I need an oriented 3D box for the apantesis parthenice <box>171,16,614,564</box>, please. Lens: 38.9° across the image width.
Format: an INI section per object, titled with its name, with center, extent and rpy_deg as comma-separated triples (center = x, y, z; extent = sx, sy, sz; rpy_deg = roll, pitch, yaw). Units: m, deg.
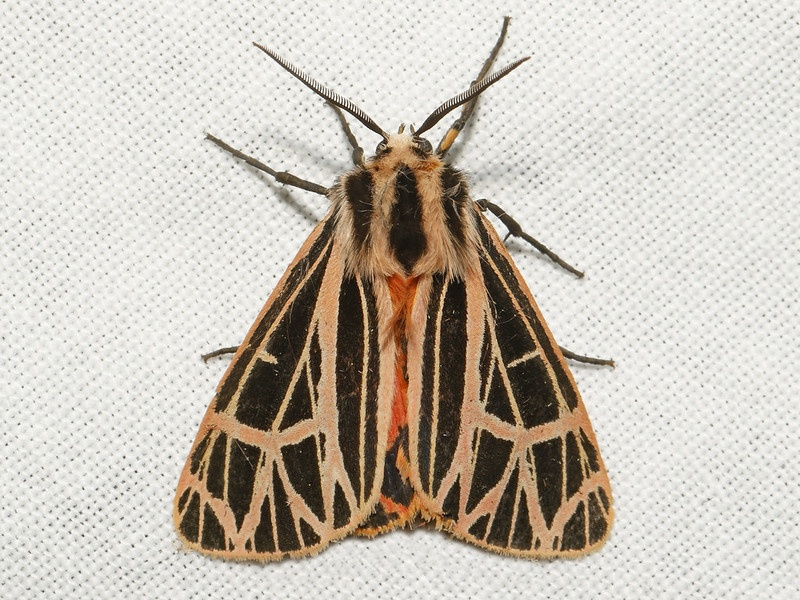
[apantesis parthenice]
center = 0.040, 0.143, 3.780
extent = 1.397, 1.407, 0.691
rpy_deg = 10, -24, -8
